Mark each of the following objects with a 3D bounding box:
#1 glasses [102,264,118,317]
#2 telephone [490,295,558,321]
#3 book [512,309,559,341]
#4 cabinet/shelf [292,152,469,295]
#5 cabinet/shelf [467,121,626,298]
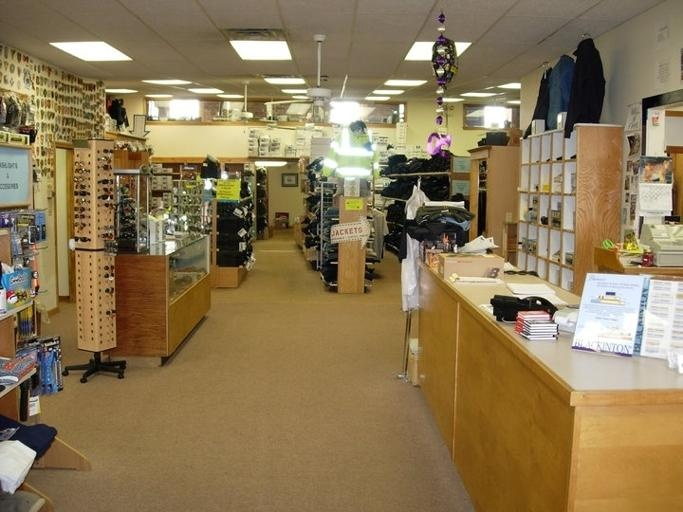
[{"bbox_3d":[-2.271,0.339,5.160,0.061,0.616,0.180,4,10,21],"label":"glasses"},{"bbox_3d":[1.041,0.294,3.060,0.199,0.077,0.207,3,7,-3],"label":"telephone"},{"bbox_3d":[1.063,0.377,2.864,0.224,0.117,0.191,1,10,3],"label":"book"},{"bbox_3d":[0.589,-0.824,10.770,2.348,2.284,3.280,1,-2,-6],"label":"cabinet/shelf"},{"bbox_3d":[2.735,-0.644,6.898,0.668,2.429,2.689,0,3,-3],"label":"cabinet/shelf"}]
